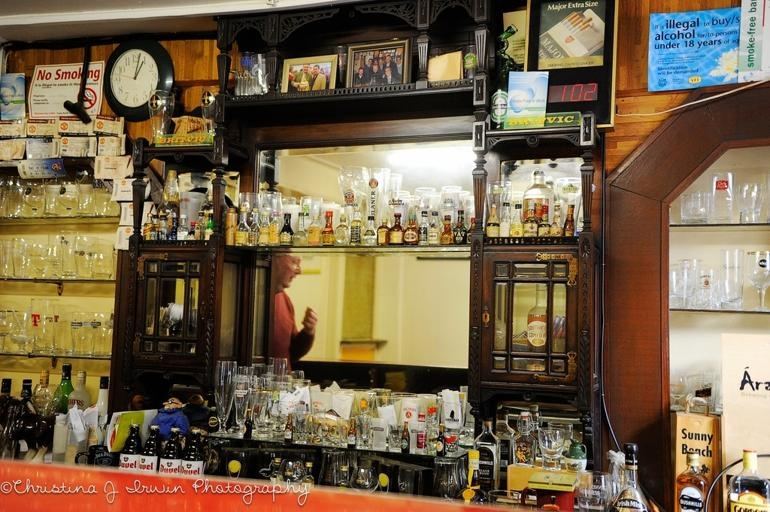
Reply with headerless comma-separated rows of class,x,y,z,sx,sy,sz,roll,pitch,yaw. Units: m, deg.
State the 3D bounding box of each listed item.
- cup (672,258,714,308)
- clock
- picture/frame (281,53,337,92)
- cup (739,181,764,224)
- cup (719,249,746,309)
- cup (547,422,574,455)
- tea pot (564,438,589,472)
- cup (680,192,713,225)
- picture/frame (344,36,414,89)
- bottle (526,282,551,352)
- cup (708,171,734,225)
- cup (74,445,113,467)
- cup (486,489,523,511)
cup,1.841,0.157,4.302,0.271,0.293,0.258,0,-5,0
clock,-1.779,-1.267,5.255,0.665,0.667,0.100,1,-5,21
picture/frame,-0.487,-1.164,4.660,0.339,0.242,0.014,-4,-30,14
cup,2.199,-0.310,4.317,0.137,0.231,0.081,0,-14,18
cup,2.038,0.139,4.234,0.115,0.340,0.095,0,-14,17
cup,0.991,1.032,4.142,0.172,0.168,0.205,1,-1,-3
tea pot,1.080,1.121,4.075,0.130,0.178,0.126,1,-7,0
cup,1.889,-0.283,4.383,0.181,0.201,0.181,1,-1,0
picture/frame,-0.028,-1.205,4.578,0.398,0.287,0.032,-3,-14,18
bottle,0.873,0.350,4.132,0.119,0.376,0.066,2,-13,11
cup,2.037,-0.345,4.348,0.134,0.297,0.086,0,-14,19
cup,-1.821,1.232,4.518,0.133,0.114,0.349,15,-17,-41
cup,0.622,1.253,3.770,0.151,0.107,0.117,-10,-12,41
